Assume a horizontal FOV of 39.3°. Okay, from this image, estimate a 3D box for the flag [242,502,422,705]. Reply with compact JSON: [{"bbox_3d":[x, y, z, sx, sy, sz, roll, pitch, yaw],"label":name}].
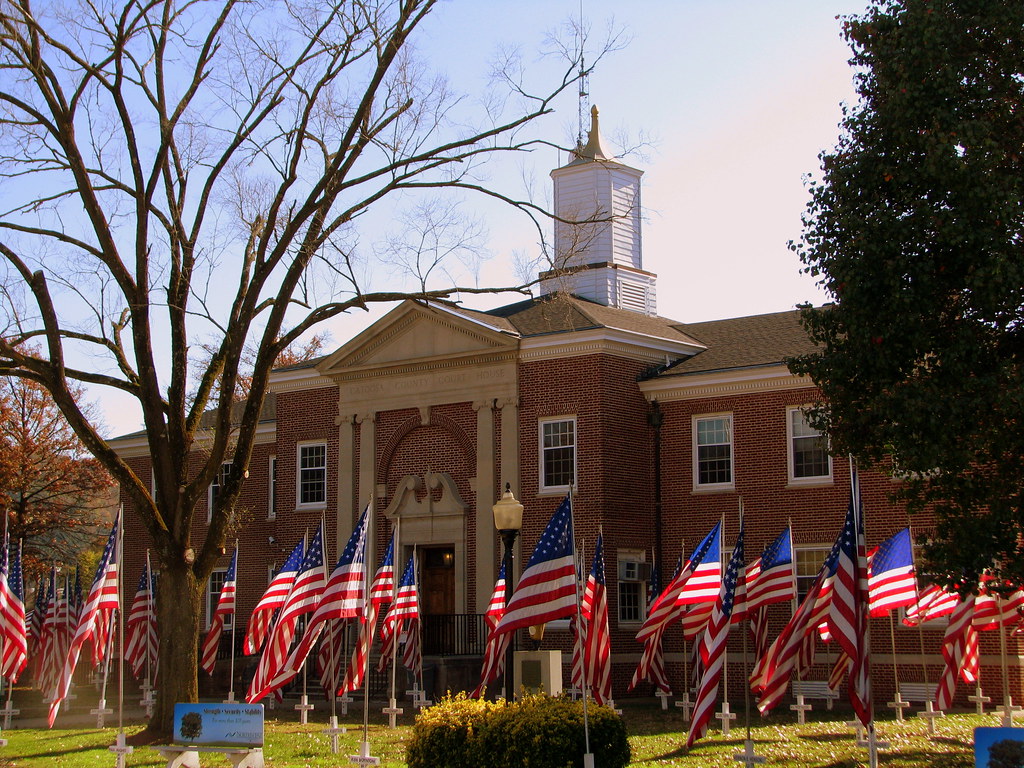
[{"bbox_3d":[-4.202,5.369,34.982,2.541,1.721,5.115,1,23,5],"label":"flag"}]
